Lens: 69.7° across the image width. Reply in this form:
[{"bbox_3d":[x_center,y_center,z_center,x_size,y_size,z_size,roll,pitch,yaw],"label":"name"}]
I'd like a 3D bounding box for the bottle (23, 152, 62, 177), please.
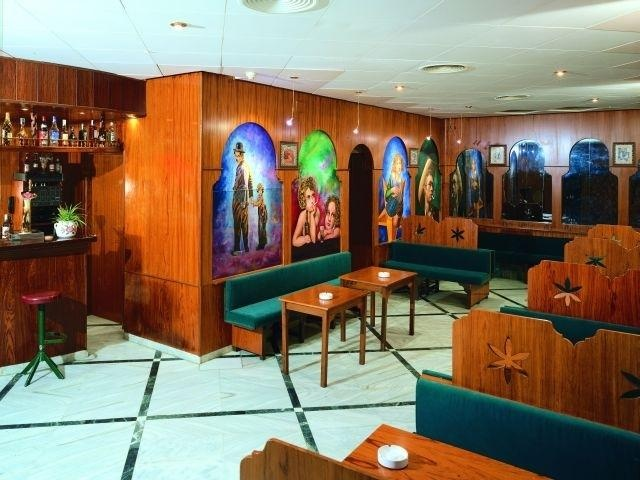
[{"bbox_3d":[-4.187,-1.123,6.923,0.132,0.360,0.414,6,7,38],"label":"bottle"}]

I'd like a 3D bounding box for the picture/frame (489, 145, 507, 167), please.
[{"bbox_3d":[4.169,-1.977,10.775,0.499,0.603,0.042,4,6,35],"label":"picture/frame"}]

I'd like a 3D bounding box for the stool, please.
[{"bbox_3d":[-3.476,1.161,5.725,0.493,1.072,0.667,-6,11,-32],"label":"stool"}]

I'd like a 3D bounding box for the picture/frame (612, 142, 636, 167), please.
[{"bbox_3d":[6.391,-1.795,9.668,0.517,0.638,0.070,3,6,32],"label":"picture/frame"}]

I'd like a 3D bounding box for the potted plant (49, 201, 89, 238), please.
[{"bbox_3d":[-3.374,-0.260,6.277,0.414,0.474,0.397,2,6,15],"label":"potted plant"}]

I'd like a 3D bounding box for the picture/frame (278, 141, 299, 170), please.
[{"bbox_3d":[-0.510,-1.325,7.239,0.035,0.442,0.466,7,10,35],"label":"picture/frame"}]
